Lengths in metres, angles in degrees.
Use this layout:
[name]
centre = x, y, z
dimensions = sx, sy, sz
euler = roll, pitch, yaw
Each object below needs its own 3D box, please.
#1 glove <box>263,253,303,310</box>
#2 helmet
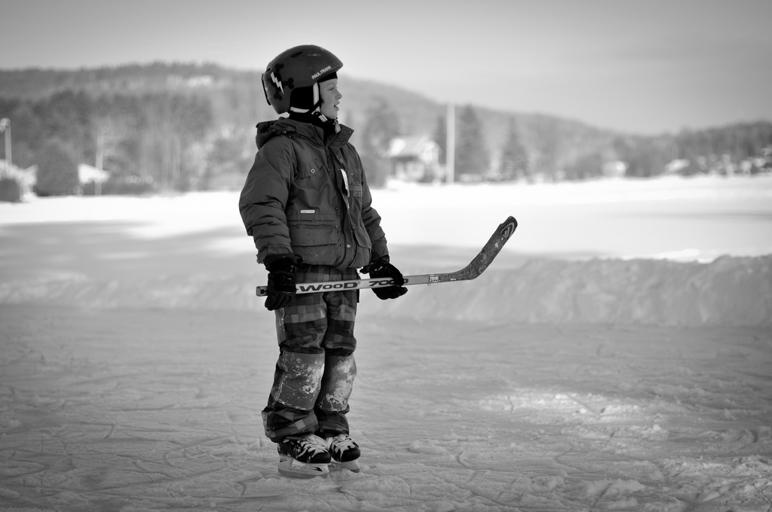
[glove]
centre = -0.638, 0.149, 6.123
dimensions = 0.179, 0.326, 0.129
euler = 0, 6, -3
[helmet]
centre = -0.477, -1.116, 6.474
dimensions = 0.517, 0.351, 0.381
euler = -5, 5, 6
